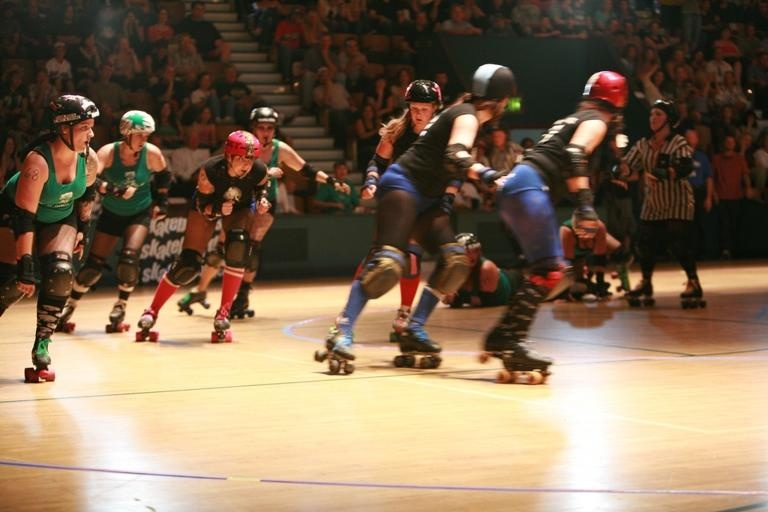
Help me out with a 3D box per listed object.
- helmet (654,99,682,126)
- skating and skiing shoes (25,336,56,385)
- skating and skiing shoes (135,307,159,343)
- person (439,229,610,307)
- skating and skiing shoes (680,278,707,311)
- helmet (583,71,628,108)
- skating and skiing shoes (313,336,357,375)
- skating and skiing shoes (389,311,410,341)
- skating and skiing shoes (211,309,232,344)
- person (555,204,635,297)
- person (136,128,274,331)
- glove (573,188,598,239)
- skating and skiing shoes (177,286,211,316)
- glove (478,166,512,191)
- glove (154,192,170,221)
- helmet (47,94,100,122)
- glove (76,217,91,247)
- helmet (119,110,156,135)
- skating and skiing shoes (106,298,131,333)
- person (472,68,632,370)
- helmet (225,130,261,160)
[{"bbox_3d":[2.968,-1.532,8.433,0.203,0.304,0.483,3,-4,26],"label":"helmet"},{"bbox_3d":[-2.307,0.702,5.441,0.194,0.234,0.162,6,-4,-23],"label":"skating and skiing shoes"},{"bbox_3d":[-2.031,0.601,6.942,0.193,0.188,0.228,6,-4,-17],"label":"skating and skiing shoes"},{"bbox_3d":[1.109,0.201,8.609,0.966,0.594,1.544,-8,-2,40],"label":"person"},{"bbox_3d":[3.200,0.393,8.300,0.285,0.310,0.170,5,-4,1],"label":"skating and skiing shoes"},{"bbox_3d":[1.528,-1.171,5.565,0.350,0.236,0.245,-5,19,-23],"label":"helmet"},{"bbox_3d":[-0.337,0.707,5.491,0.177,0.179,0.328,5,1,-28],"label":"skating and skiing shoes"},{"bbox_3d":[0.122,0.553,6.284,0.094,0.269,0.118,41,-31,-22],"label":"skating and skiing shoes"},{"bbox_3d":[-1.385,0.604,6.943,0.180,0.276,0.404,5,-4,-10],"label":"skating and skiing shoes"},{"bbox_3d":[2.536,0.031,9.699,0.851,1.047,0.995,0,0,6],"label":"person"},{"bbox_3d":[-1.558,-0.183,7.031,0.949,1.797,0.765,5,-4,-8],"label":"person"},{"bbox_3d":[1.351,-0.283,5.370,0.146,0.313,0.515,4,-3,15],"label":"glove"},{"bbox_3d":[-2.049,0.478,8.233,0.561,0.223,0.177,0,2,-12],"label":"skating and skiing shoes"},{"bbox_3d":[0.701,-0.521,5.179,0.177,0.165,0.061,24,-12,-8],"label":"glove"},{"bbox_3d":[-2.219,-0.511,8.028,0.095,0.279,0.215,13,-11,-18],"label":"glove"},{"bbox_3d":[-2.045,-0.995,5.367,0.276,0.199,0.196,-18,9,10],"label":"helmet"},{"bbox_3d":[-2.314,-0.200,6.183,0.096,0.238,0.073,-8,-12,0],"label":"glove"},{"bbox_3d":[-2.266,-1.199,7.313,0.344,0.243,0.247,0,21,3],"label":"helmet"},{"bbox_3d":[-2.460,0.561,7.494,0.212,0.210,0.268,6,-4,-17],"label":"skating and skiing shoes"},{"bbox_3d":[1.127,-0.264,5.345,0.819,2.086,0.427,4,-4,13],"label":"person"},{"bbox_3d":[-1.243,-0.949,6.883,0.279,0.201,0.246,1,7,34],"label":"helmet"}]
